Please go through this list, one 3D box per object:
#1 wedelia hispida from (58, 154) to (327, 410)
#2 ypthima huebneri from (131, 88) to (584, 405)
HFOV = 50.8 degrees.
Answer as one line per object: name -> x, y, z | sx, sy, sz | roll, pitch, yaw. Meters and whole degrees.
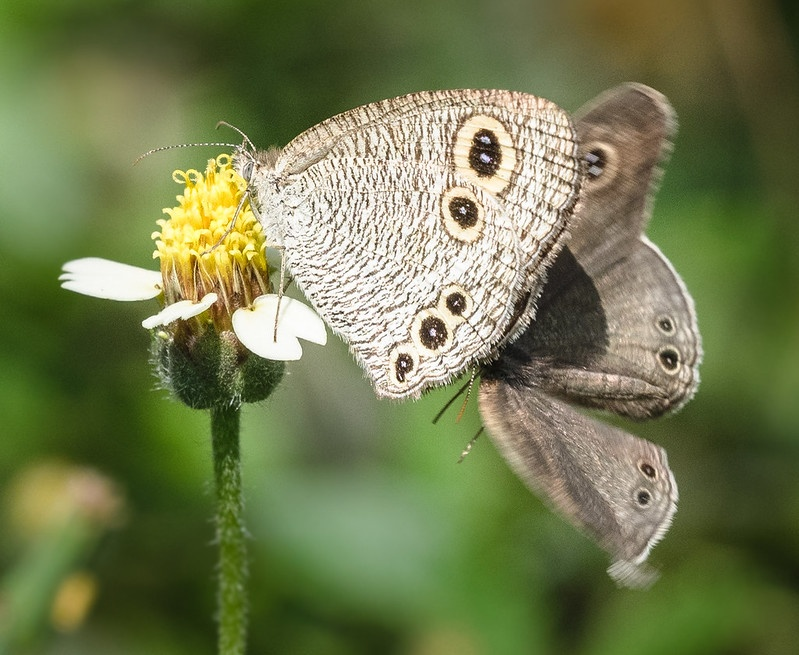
wedelia hispida -> -0.880, -0.157, 3.709 | 1.015, 1.032, 1.119 | -5, 10, -20
ypthima huebneri -> 0.080, -0.342, 3.402 | 1.327, 1.031, 0.659 | -7, -32, 11
